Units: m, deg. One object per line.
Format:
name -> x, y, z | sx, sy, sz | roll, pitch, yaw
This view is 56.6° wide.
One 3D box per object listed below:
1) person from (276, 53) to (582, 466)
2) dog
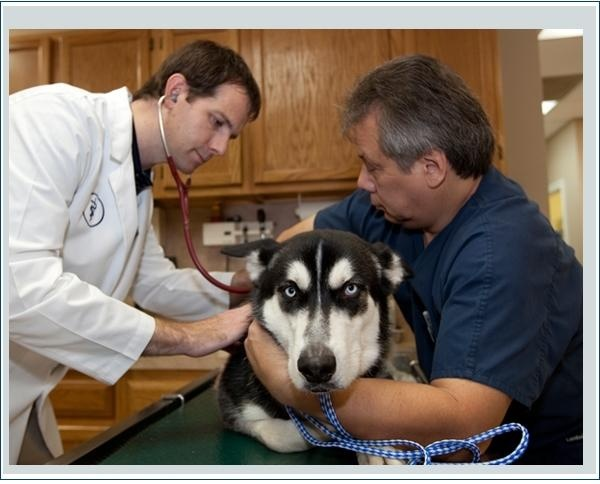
person -> 0.644, 0.049, 2.381 | 0.763, 1.668, 1.053 | -9, 14, -27
dog -> 0.116, 0.425, 2.806 | 0.913, 1.044, 1.481 | 5, 11, 6
